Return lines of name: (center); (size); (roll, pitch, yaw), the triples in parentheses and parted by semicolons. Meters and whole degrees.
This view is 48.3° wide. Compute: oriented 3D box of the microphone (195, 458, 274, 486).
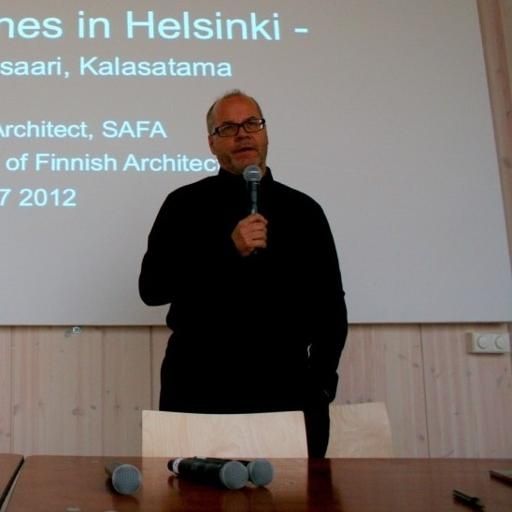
microphone: (-0.045, 0.397, 1.081); (0.150, 0.061, 0.051); (4, -34, -14)

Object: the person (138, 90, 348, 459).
person: (-0.061, 0.033, 2.475); (0.899, 1.558, 0.336); (0, -5, 7)

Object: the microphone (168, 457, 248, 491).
microphone: (-0.094, 0.397, 1.119); (0.057, 0.062, 0.191); (33, -24, -35)
